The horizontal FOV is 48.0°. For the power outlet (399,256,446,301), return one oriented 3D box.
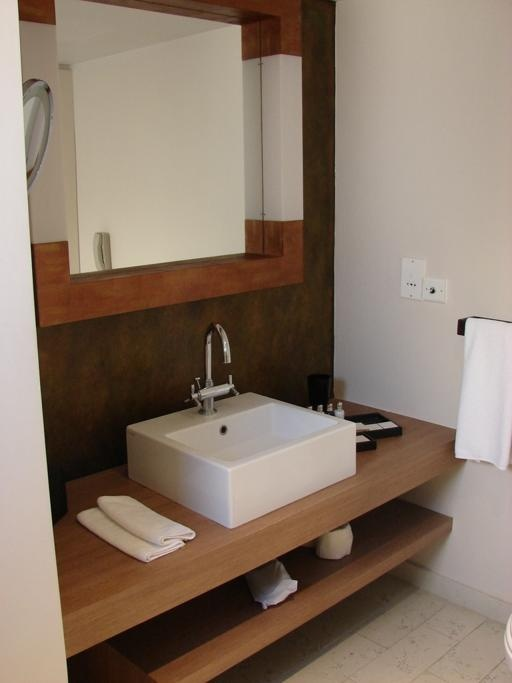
[{"bbox_3d":[0.610,-0.235,2.090,0.013,0.135,0.134,-9,17,-35],"label":"power outlet"}]

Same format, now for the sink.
[{"bbox_3d":[-0.072,0.310,1.564,0.342,0.142,0.380,9,15,44],"label":"sink"}]

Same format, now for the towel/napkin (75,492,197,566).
[{"bbox_3d":[-0.287,0.431,1.330,0.125,0.035,0.203,-12,17,-41],"label":"towel/napkin"}]

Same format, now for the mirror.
[{"bbox_3d":[-0.274,-0.533,1.632,0.924,0.977,0.072,-11,17,-44],"label":"mirror"}]
